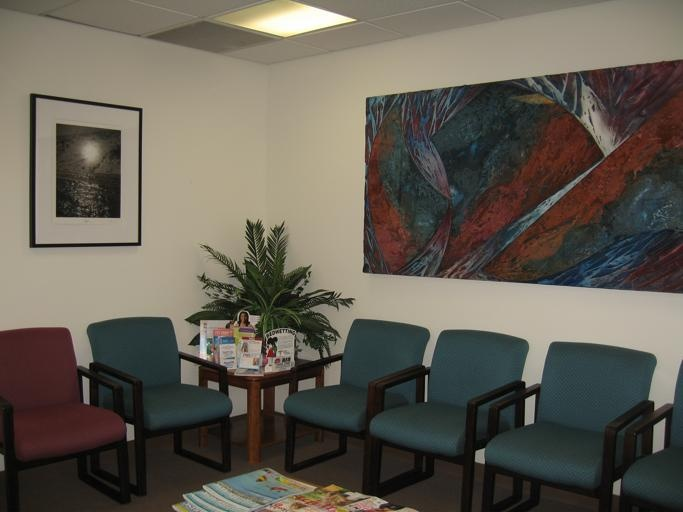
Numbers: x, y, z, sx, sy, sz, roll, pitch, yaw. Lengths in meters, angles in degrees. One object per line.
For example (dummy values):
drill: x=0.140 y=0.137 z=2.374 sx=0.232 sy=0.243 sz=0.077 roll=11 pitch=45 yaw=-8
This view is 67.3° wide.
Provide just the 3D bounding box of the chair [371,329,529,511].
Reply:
chair: x=0.873 y=1.152 z=3.868 sx=1.007 sy=1.369 sz=1.267 roll=2 pitch=2 yaw=39

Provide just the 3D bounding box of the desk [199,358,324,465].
desk: x=-0.678 y=1.174 z=4.559 sx=0.906 sy=0.817 sz=0.893 roll=0 pitch=0 yaw=-42

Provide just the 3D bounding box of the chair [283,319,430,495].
chair: x=0.125 y=1.132 z=4.070 sx=0.868 sy=1.101 sz=1.011 roll=0 pitch=0 yaw=40

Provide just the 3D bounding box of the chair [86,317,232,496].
chair: x=-1.412 y=1.115 z=3.980 sx=1.044 sy=1.114 sz=0.866 roll=3 pitch=1 yaw=30
